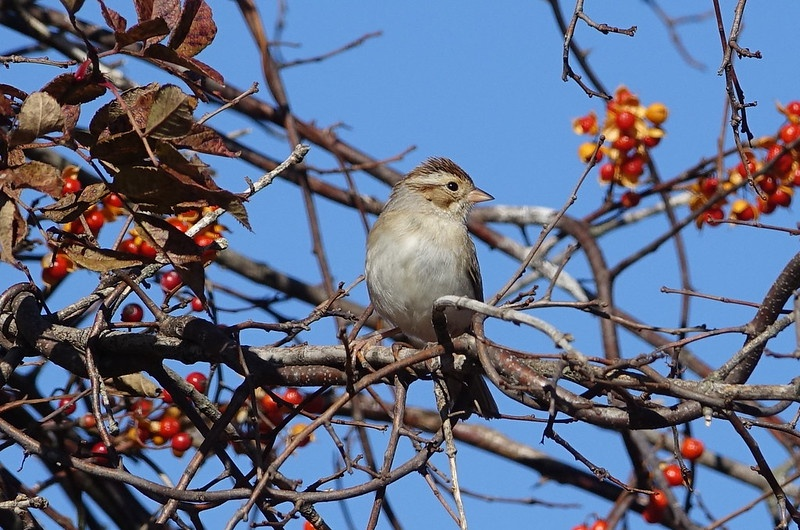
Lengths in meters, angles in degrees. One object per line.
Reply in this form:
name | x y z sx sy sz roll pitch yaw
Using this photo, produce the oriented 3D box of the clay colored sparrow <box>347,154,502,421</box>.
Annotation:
clay colored sparrow | 0.157 0.233 8.100 0.896 1.746 1.734 5 -61 -1
